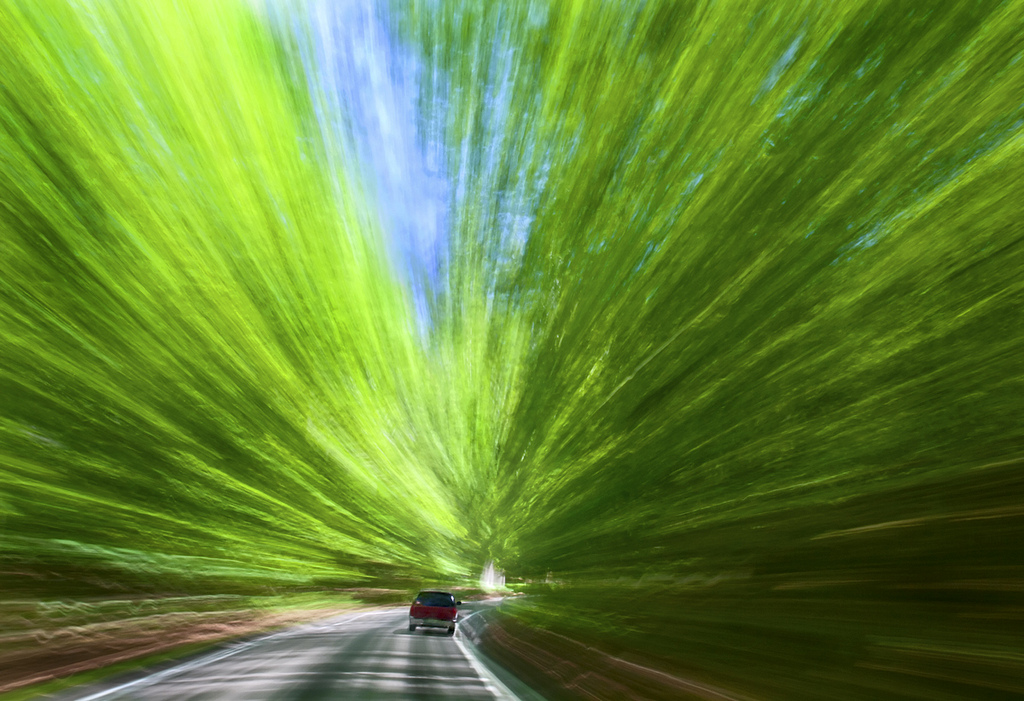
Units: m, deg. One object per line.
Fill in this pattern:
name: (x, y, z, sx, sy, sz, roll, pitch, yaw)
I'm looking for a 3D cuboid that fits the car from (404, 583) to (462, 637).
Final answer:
car: (-2.962, 10.330, 28.223, 1.791, 0.881, 2.378, 2, -2, 1)
